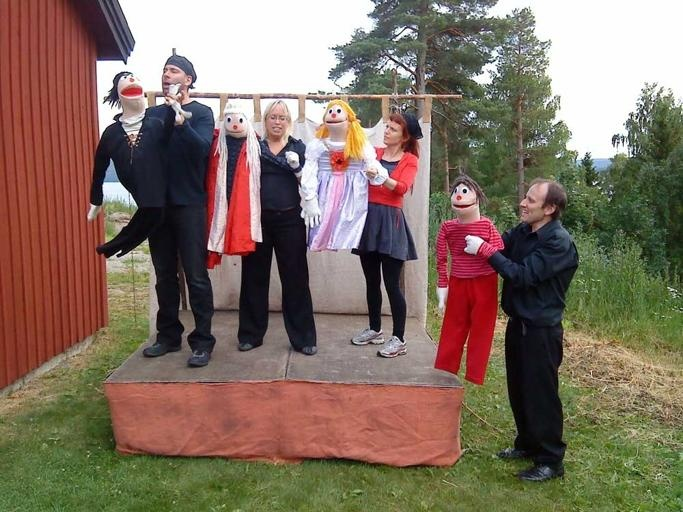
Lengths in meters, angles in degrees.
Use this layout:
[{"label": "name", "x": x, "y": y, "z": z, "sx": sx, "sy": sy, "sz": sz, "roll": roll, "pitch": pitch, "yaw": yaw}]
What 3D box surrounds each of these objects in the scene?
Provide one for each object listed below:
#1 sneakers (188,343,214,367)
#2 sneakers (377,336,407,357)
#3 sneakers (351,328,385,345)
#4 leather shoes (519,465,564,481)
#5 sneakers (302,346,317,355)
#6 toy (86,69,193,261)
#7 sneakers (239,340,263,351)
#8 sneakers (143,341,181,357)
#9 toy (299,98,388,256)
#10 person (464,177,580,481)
[{"label": "sneakers", "x": -1.117, "y": 0.791, "z": 4.510, "sx": 0.088, "sy": 0.100, "sz": 0.241, "roll": 1, "pitch": -3, "yaw": 0}, {"label": "sneakers", "x": 0.427, "y": 0.779, "z": 4.830, "sx": 0.123, "sy": 0.136, "sz": 0.274, "roll": -3, "pitch": -9, "yaw": 38}, {"label": "sneakers", "x": 0.228, "y": 0.720, "z": 5.106, "sx": 0.282, "sy": 0.144, "sz": 0.125, "roll": 2, "pitch": -2, "yaw": -8}, {"label": "leather shoes", "x": 1.443, "y": 1.567, "z": 4.195, "sx": 0.311, "sy": 0.136, "sz": 0.120, "roll": 1, "pitch": -6, "yaw": -3}, {"label": "sneakers", "x": -0.267, "y": 0.782, "z": 4.749, "sx": 0.132, "sy": 0.054, "sz": 0.101, "roll": -1, "pitch": 11, "yaw": -11}, {"label": "toy", "x": -1.632, "y": -0.703, "z": 4.485, "sx": 0.820, "sy": 1.399, "sz": 0.386, "roll": 1, "pitch": 10, "yaw": 4}, {"label": "sneakers", "x": -0.782, "y": 0.754, "z": 4.809, "sx": 0.064, "sy": 0.082, "sz": 0.197, "roll": -3, "pitch": -15, "yaw": 19}, {"label": "sneakers", "x": -1.492, "y": 0.771, "z": 4.771, "sx": 0.267, "sy": 0.131, "sz": 0.100, "roll": 2, "pitch": -4, "yaw": -37}, {"label": "toy", "x": -0.008, "y": -0.662, "z": 4.728, "sx": 0.670, "sy": 1.242, "sz": 0.473, "roll": 0, "pitch": 10, "yaw": -3}, {"label": "person", "x": 1.347, "y": 0.523, "z": 4.156, "sx": 0.637, "sy": 2.132, "sz": 0.409, "roll": 5, "pitch": 10, "yaw": 24}]
